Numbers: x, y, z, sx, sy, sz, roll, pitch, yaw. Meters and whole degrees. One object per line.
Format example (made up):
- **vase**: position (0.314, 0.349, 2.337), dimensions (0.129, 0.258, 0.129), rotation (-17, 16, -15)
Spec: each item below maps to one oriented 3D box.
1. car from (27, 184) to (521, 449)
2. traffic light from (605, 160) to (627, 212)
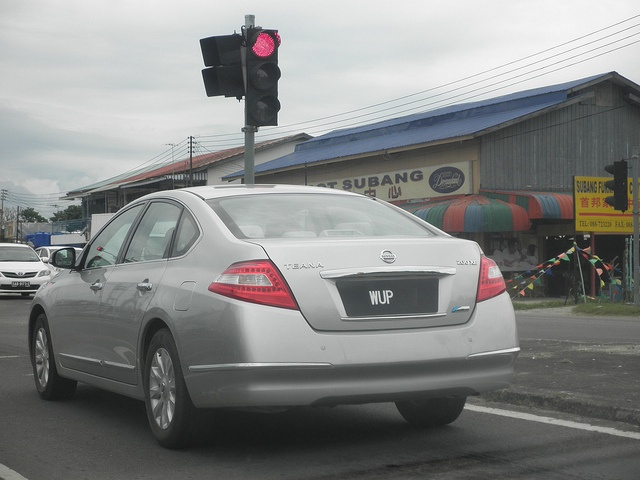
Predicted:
- **car**: position (-0.624, 0.499, 4.747), dimensions (3.929, 2.073, 1.728), rotation (-4, -3, 39)
- **traffic light**: position (8.538, -1.609, 16.554), dimensions (0.600, 1.446, 1.030), rotation (-2, -3, 28)
